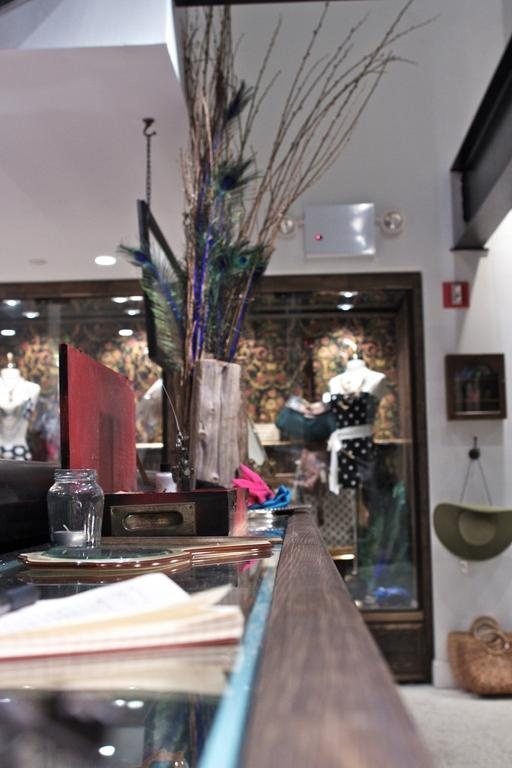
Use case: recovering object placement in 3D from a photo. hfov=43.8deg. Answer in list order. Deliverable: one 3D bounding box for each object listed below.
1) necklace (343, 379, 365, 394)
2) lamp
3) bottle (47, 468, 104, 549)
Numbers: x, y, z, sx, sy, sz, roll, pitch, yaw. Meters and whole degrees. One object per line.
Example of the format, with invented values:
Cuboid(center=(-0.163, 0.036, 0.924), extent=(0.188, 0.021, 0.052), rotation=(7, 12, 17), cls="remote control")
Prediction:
Cuboid(center=(0.502, 0.013, 3.274), extent=(0.074, 0.073, 0.018), rotation=(-2, -3, -3), cls="necklace")
Cuboid(center=(0.432, -0.802, 3.216), extent=(0.600, 0.286, 0.152), rotation=(-1, -1, 1), cls="lamp")
Cuboid(center=(-0.234, 0.159, 0.825), extent=(0.070, 0.094, 0.070), rotation=(0, 0, 0), cls="bottle")
